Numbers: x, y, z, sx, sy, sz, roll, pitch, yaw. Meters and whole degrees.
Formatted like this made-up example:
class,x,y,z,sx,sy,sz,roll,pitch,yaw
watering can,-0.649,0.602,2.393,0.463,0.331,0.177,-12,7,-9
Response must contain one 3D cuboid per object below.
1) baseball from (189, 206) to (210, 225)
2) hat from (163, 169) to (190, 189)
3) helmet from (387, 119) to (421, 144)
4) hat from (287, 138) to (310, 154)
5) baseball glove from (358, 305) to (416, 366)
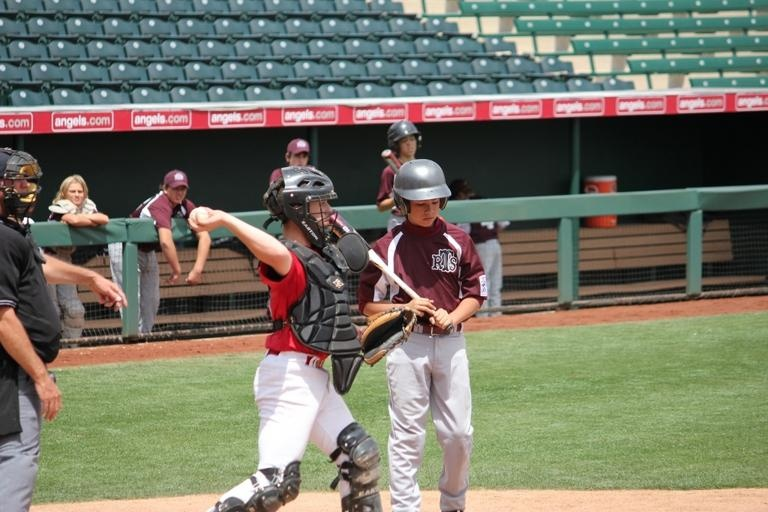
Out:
class,x,y,z,sx,sy,sz,roll,pitch,yaw
baseball,-1.651,-0.370,10.513,0.186,0.133,0.151,-4,7,-10
hat,-2.656,-0.981,15.118,0.305,0.224,0.413,1,0,-22
helmet,0.222,-1.479,14.181,0.319,0.280,0.362,-10,25,-15
hat,-1.097,-1.459,15.230,0.291,0.196,0.381,1,-3,-14
baseball glove,-0.006,0.704,11.019,0.573,0.462,0.214,-36,-24,16
